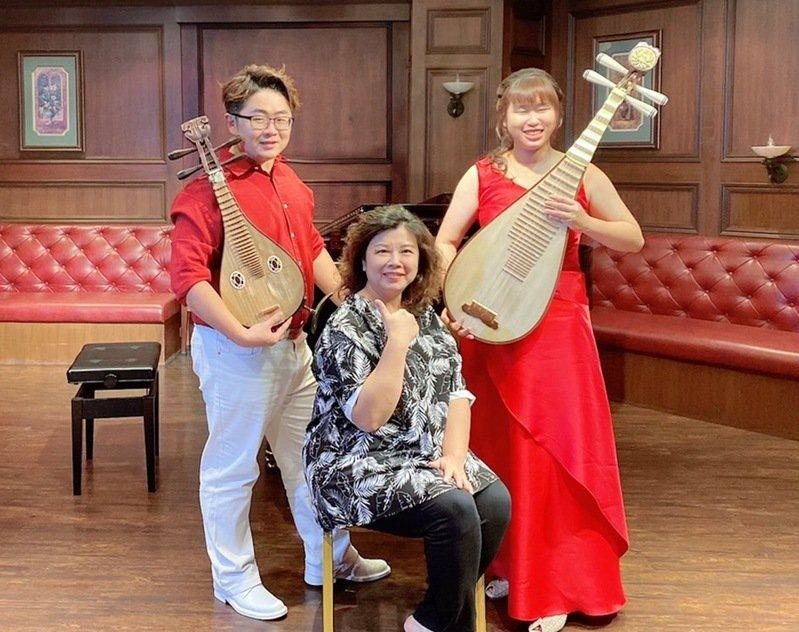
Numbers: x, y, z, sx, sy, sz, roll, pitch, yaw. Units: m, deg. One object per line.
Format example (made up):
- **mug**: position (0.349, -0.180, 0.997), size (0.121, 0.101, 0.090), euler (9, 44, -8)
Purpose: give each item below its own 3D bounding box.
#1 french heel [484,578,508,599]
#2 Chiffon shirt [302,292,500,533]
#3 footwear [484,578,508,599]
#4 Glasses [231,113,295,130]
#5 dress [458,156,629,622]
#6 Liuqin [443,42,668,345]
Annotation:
- **french heel**: position (0.347, 0.990, 2.838), size (0.083, 0.059, 0.033), euler (-12, -4, 12)
- **Chiffon shirt**: position (-0.055, 0.284, 2.668), size (0.613, 0.820, 0.601), euler (-3, 0, 34)
- **footwear**: position (0.347, 0.994, 2.836), size (0.083, 0.059, 0.033), euler (-12, -4, 12)
- **Glasses**: position (-0.433, -0.620, 2.515), size (0.192, 0.054, 0.085), euler (-3, 7, -16)
- **dress**: position (0.500, 0.306, 2.765), size (0.492, 1.658, 0.450), euler (0, 13, -12)
- **Liuqin**: position (0.429, -0.335, 2.540), size (0.575, 0.840, 0.059), euler (0, 6, 1)
